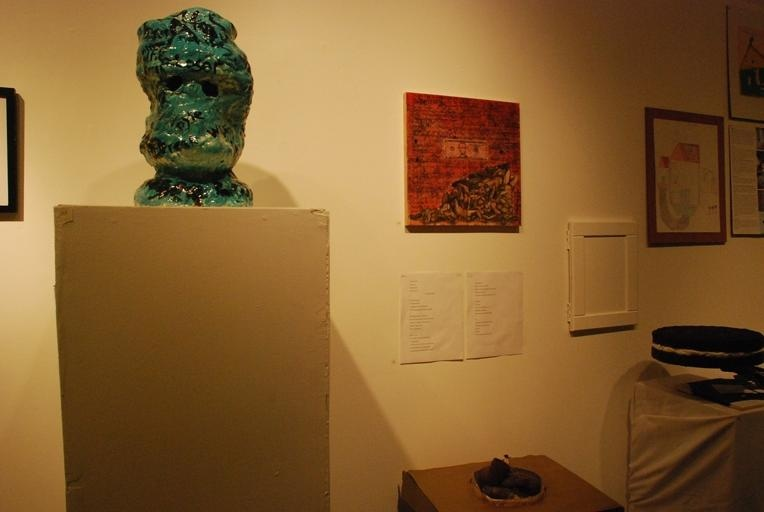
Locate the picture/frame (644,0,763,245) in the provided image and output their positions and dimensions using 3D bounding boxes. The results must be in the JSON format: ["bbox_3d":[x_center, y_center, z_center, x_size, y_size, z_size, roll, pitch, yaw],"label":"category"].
[{"bbox_3d":[1.619,-0.644,3.260,0.772,1.189,0.083,-3,5,-22],"label":"picture/frame"}]
